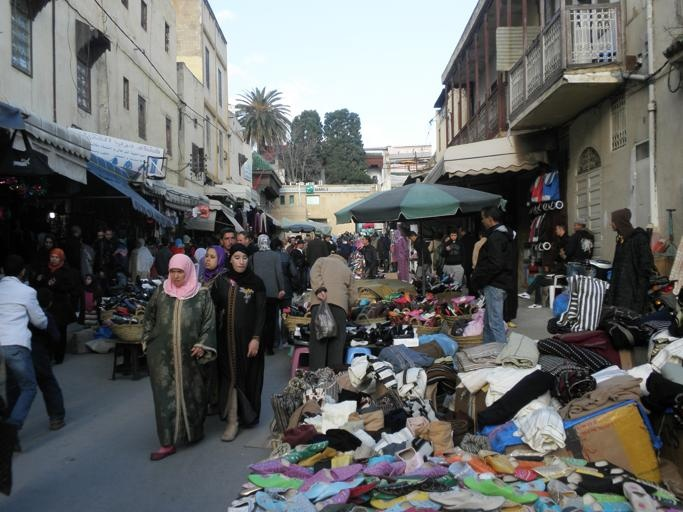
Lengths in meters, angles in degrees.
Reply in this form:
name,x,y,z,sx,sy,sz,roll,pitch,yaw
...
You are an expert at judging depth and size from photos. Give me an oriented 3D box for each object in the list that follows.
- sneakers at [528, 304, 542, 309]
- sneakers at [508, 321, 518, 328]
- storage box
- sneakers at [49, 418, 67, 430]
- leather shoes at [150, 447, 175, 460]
name,x,y,z,sx,sy,sz,roll,pitch,yaw
sneakers,4.121,1.092,13.526,0.293,0.133,0.106,1,5,5
sneakers,3.098,1.253,11.511,0.087,0.074,0.173,-4,3,-38
storage box,2.668,1.846,6.256,0.851,0.990,0.571,-6,-16,19
sneakers,-3.485,2.082,7.791,0.109,0.184,0.174,-3,-14,-5
leather shoes,-1.981,2.204,7.080,0.279,0.130,0.101,-2,5,-34
